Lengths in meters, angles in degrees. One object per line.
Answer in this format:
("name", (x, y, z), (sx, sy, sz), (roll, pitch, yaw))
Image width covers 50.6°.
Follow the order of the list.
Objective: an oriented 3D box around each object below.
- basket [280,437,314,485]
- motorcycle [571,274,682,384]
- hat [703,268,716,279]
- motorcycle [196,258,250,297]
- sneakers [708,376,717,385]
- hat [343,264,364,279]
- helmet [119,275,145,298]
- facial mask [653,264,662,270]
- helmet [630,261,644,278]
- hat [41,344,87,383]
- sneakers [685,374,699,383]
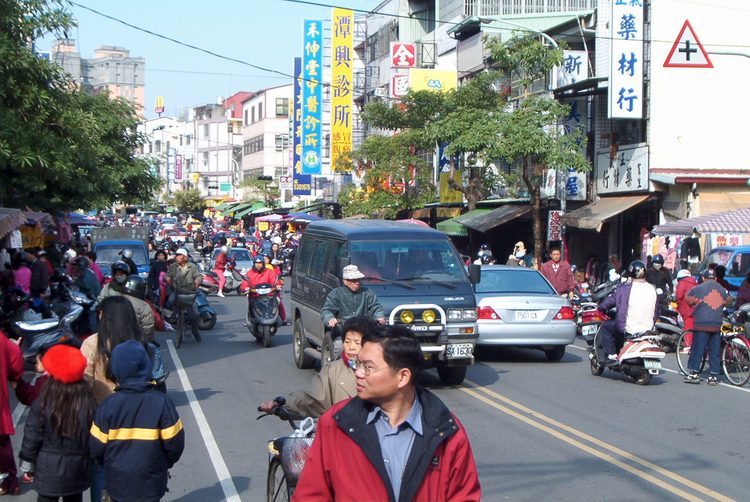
("basket", (-0.782, 1.904, 7.235), (0.361, 0.413, 0.464), (1, -10, -11))
("motorcycle", (4.549, 1.331, 14.225), (1.287, 2.114, 0.497), (4, 6, 45))
("hat", (6.265, 0.429, 14.769), (0.183, 0.159, 0.268), (2, 8, 9))
("motorcycle", (-5.252, 0.944, 26.976), (2.200, 1.396, 1.211), (-1, 6, -44))
("sneakers", (6.164, 2.339, 14.376), (0.175, 0.160, 0.235), (2, 4, 22))
("hat", (-0.354, 0.323, 11.814), (0.242, 0.219, 0.333), (0, 4, -8))
("helmet", (-3.127, 0.446, 10.238), (0.247, 0.274, 0.285), (11, 15, 23))
("facial mask", (6.626, 0.370, 18.513), (0.121, 0.075, 0.159), (1, -11, 5))
("helmet", (4.716, 0.332, 14.159), (0.255, 0.300, 0.387), (1, 4, 16))
("hat", (-3.001, 1.079, 7.597), (0.396, 0.347, 0.247), (0, 4, -7))
("sneakers", (5.805, 2.316, 14.403), (0.234, 0.169, 0.118), (3, 1, 10))
